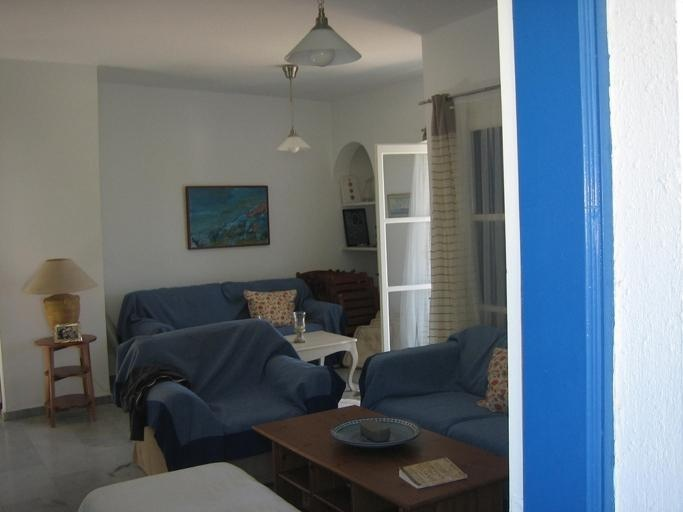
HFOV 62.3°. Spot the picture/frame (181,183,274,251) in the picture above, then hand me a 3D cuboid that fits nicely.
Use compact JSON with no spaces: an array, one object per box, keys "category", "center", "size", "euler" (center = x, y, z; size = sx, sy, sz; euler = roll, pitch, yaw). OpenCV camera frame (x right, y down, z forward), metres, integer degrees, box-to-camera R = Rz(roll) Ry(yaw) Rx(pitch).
[{"category":"picture/frame","center":[-1.264,-0.427,6.066],"size":[0.699,0.536,0.097],"euler":[-3,2,-34]}]

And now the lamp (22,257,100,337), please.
[{"category":"lamp","center":[-2.177,0.334,4.400],"size":[0.482,0.593,0.512],"euler":[-7,-2,-38]}]

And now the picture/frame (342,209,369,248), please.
[{"category":"picture/frame","center":[0.181,-0.345,6.918],"size":[0.313,0.468,0.039],"euler":[-7,-4,-30]}]

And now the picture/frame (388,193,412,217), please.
[{"category":"picture/frame","center":[0.479,-0.419,4.636],"size":[0.171,0.173,0.017],"euler":[-2,7,1]}]

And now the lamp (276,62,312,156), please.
[{"category":"lamp","center":[-0.445,-1.354,5.185],"size":[0.297,0.753,0.301],"euler":[-5,12,-20]}]

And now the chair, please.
[{"category":"chair","center":[-0.643,0.875,3.417],"size":[1.218,0.885,0.812],"euler":[-5,10,-39]}]

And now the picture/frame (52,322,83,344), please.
[{"category":"picture/frame","center":[-2.115,0.590,4.366],"size":[0.151,0.120,0.026],"euler":[1,-12,-29]}]

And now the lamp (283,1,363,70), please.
[{"category":"lamp","center":[-0.096,-1.067,2.699],"size":[0.303,0.278,0.262],"euler":[-9,7,-37]}]

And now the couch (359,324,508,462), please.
[{"category":"couch","center":[0.627,0.795,3.318],"size":[0.639,0.551,0.887],"euler":[-2,6,-30]}]

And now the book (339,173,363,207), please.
[{"category":"book","center":[0.108,-0.798,6.883],"size":[0.358,0.521,0.094],"euler":[-1,-5,-22]}]

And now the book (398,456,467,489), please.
[{"category":"book","center":[0.361,0.835,2.199],"size":[0.265,0.051,0.166],"euler":[-7,6,-25]}]
